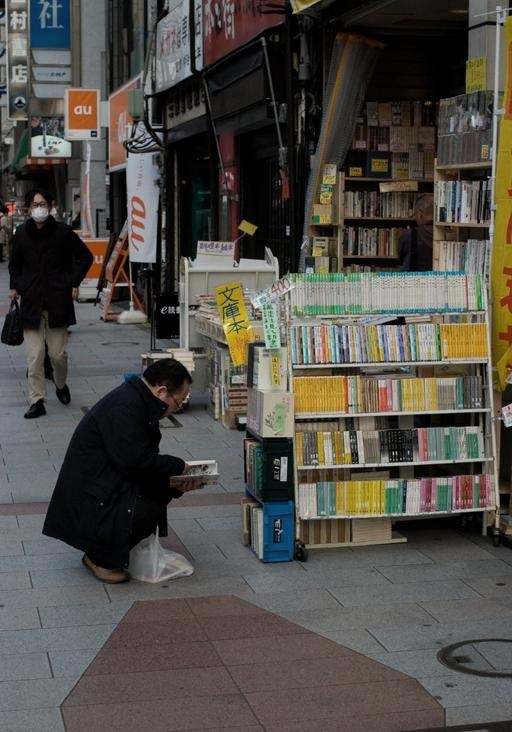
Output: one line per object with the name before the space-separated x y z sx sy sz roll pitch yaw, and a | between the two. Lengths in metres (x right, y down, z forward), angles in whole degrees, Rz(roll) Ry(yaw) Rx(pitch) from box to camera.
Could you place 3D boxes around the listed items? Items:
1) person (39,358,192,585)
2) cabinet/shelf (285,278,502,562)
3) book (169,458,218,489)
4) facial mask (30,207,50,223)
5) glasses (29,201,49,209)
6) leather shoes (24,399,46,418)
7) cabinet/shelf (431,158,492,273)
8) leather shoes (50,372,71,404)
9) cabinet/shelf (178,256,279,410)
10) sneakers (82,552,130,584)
person | -0.634 0.409 4.134 0.976 1.327 0.867 0 14 -15
cabinet/shelf | 0.728 0.283 4.404 1.168 1.509 0.536 -2 -1 -13
book | -0.284 0.525 3.701 0.181 0.065 0.137 -6 2 25
facial mask | -1.983 -1.373 7.052 0.119 0.113 0.131 0 11 -3
glasses | -1.978 -1.459 7.021 0.146 0.053 0.064 1 3 -9
leather shoes | -2.123 0.444 7.435 0.100 0.196 0.289 0 -3 26
cabinet/shelf | 1.503 -0.956 5.597 0.293 0.830 0.863 12 39 7
leather shoes | -1.982 0.299 7.911 0.137 0.408 0.155 -23 17 -20
cabinet/shelf | -0.308 -0.793 8.692 1.120 2.046 1.052 -2 9 -10
sneakers | -0.745 0.984 3.757 0.093 0.085 0.235 0 2 -43
